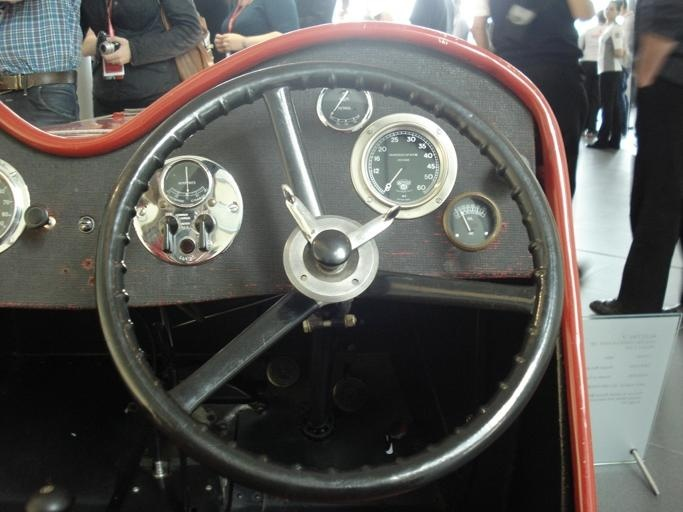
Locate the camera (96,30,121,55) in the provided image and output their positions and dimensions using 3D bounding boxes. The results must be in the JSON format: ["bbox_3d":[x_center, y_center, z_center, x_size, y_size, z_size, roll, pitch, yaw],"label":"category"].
[{"bbox_3d":[-0.953,-0.857,2.653,0.105,0.080,0.050,0,-1,34],"label":"camera"}]
